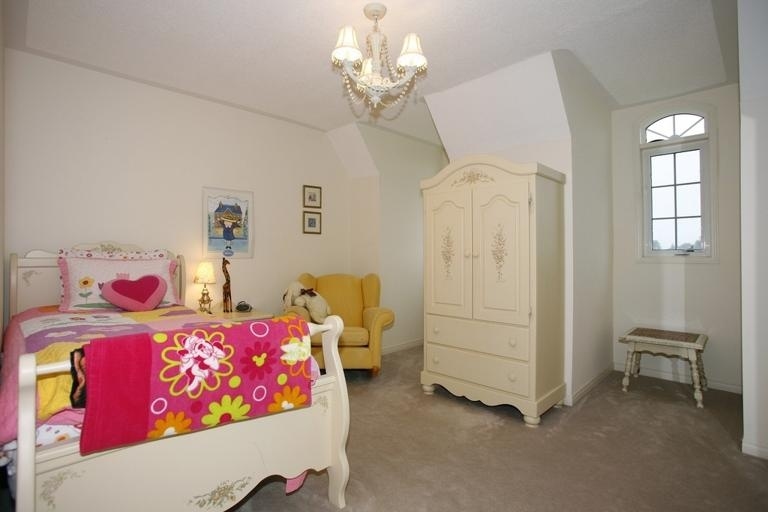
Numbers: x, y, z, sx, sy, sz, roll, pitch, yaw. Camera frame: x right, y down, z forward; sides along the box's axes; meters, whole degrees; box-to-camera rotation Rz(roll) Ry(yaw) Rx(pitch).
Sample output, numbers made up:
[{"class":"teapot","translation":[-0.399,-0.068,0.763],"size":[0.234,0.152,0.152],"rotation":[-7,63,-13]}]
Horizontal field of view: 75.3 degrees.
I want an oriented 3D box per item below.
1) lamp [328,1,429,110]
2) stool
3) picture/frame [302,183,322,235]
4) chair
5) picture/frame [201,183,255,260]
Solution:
[{"class":"lamp","translation":[-0.043,-1.653,4.475],"size":[0.777,0.887,0.803],"rotation":[1,-2,8]},{"class":"stool","translation":[3.045,1.089,5.384],"size":[0.890,0.713,0.733],"rotation":[0,-1,38]},{"class":"picture/frame","translation":[-0.932,-0.590,6.458],"size":[0.322,0.632,0.022],"rotation":[-3,2,-44]},{"class":"chair","translation":[-0.563,0.836,6.145],"size":[1.243,1.377,1.124],"rotation":[1,-15,-6]},{"class":"picture/frame","translation":[-1.818,-0.389,5.709],"size":[0.816,1.141,0.043],"rotation":[5,-7,-43]}]
